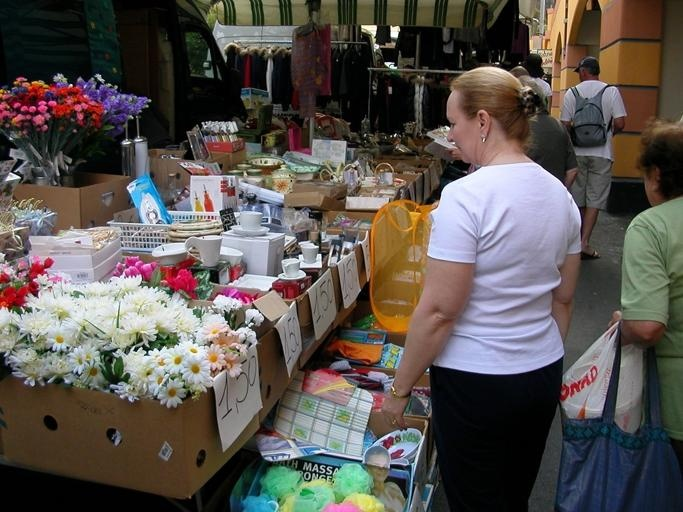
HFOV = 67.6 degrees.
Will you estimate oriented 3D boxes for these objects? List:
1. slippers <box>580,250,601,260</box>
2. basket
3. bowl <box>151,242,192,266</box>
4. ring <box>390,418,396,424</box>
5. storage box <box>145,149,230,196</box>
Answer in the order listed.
[{"bbox_3d":[2.953,-0.007,6.087,0.275,0.120,0.100,-1,10,10],"label":"slippers"},{"bbox_3d":[-0.877,-0.116,2.400,0.374,0.108,0.299,1,10,10],"label":"basket"},{"bbox_3d":[-0.683,-0.009,2.009,0.088,0.042,0.122,2,19,8],"label":"bowl"},{"bbox_3d":[0.168,0.532,1.647,0.004,0.020,0.018,-4,8,-32],"label":"ring"},{"bbox_3d":[-1.050,-0.517,3.211,0.385,0.257,0.394,-3,13,-10],"label":"storage box"}]
